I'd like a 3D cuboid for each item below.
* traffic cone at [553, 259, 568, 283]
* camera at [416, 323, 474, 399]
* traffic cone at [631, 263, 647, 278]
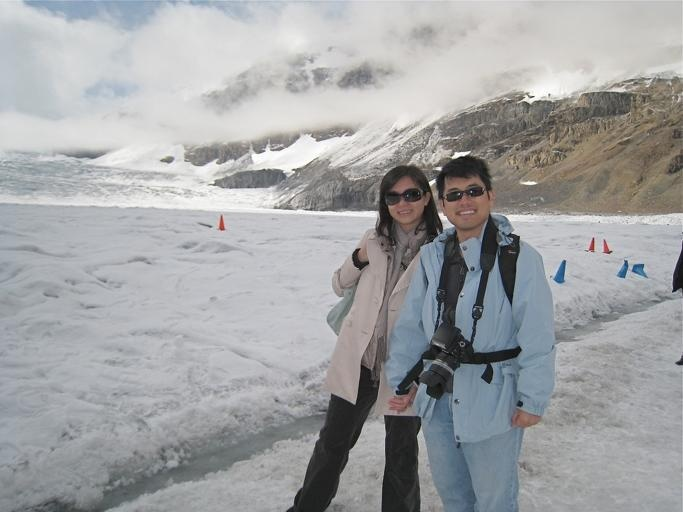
[{"bbox_3d":[5.054,0.350,10.515,0.299,0.563,0.319,8,36,8],"label":"traffic cone"},{"bbox_3d":[0.726,0.721,3.230,0.318,0.534,0.205,33,-11,18],"label":"camera"},{"bbox_3d":[7.304,0.337,11.151,0.325,0.246,0.408,6,10,33],"label":"traffic cone"}]
